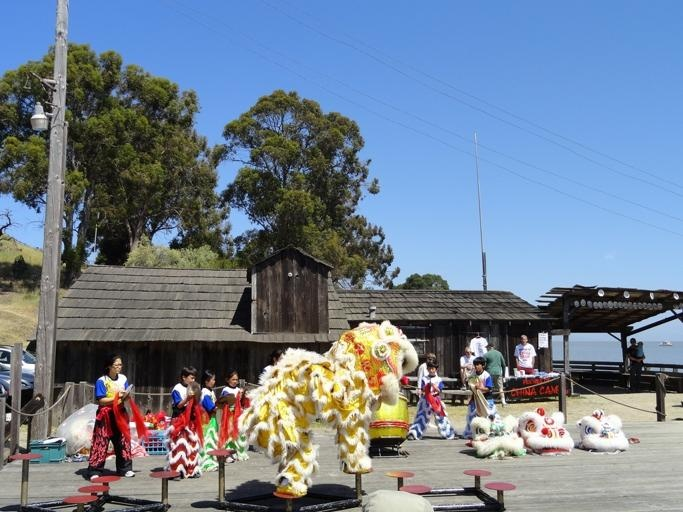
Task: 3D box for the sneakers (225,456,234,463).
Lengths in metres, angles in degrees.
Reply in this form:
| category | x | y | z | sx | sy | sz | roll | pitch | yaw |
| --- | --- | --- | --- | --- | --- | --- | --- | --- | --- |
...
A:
| category | x | y | z | sx | sy | sz | roll | pitch | yaw |
| --- | --- | --- | --- | --- | --- | --- | --- | --- | --- |
| sneakers | -2.199 | 4.011 | 14.410 | 0.156 | 0.157 | 0.105 | -7 | -12 | 2 |

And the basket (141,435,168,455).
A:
| category | x | y | z | sx | sy | sz | roll | pitch | yaw |
| --- | --- | --- | --- | --- | --- | --- | --- | --- | --- |
| basket | -3.794 | 3.808 | 14.876 | 0.476 | 0.480 | 0.207 | 2 | -11 | -10 |

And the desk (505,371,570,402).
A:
| category | x | y | z | sx | sy | sz | roll | pitch | yaw |
| --- | --- | --- | --- | --- | --- | --- | --- | --- | --- |
| desk | 5.897 | 4.044 | 22.585 | 2.049 | 0.875 | 1.435 | 6 | -13 | -25 |

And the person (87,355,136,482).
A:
| category | x | y | z | sx | sy | sz | roll | pitch | yaw |
| --- | --- | --- | --- | --- | --- | --- | --- | --- | --- |
| person | -4.160 | 2.953 | 13.412 | 0.780 | 2.174 | 0.731 | 4 | -12 | -19 |

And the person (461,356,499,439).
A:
| category | x | y | z | sx | sy | sz | roll | pitch | yaw |
| --- | --- | --- | --- | --- | --- | --- | --- | --- | --- |
| person | 3.093 | 3.177 | 16.514 | 0.722 | 1.839 | 1.467 | -1 | -12 | 9 |

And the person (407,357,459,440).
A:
| category | x | y | z | sx | sy | sz | roll | pitch | yaw |
| --- | --- | --- | --- | --- | --- | --- | --- | --- | --- |
| person | 2.010 | 3.295 | 16.635 | 0.867 | 1.714 | 0.850 | 10 | -15 | -41 |

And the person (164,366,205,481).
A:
| category | x | y | z | sx | sy | sz | roll | pitch | yaw |
| --- | --- | --- | --- | --- | --- | --- | --- | --- | --- |
| person | -2.842 | 3.051 | 13.448 | 0.636 | 1.963 | 0.421 | 3 | -11 | -13 |

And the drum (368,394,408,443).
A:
| category | x | y | z | sx | sy | sz | roll | pitch | yaw |
| --- | --- | --- | --- | --- | --- | --- | --- | --- | --- |
| drum | 0.942 | 3.353 | 15.162 | 0.908 | 0.969 | 0.981 | -4 | -13 | 7 |

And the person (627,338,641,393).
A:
| category | x | y | z | sx | sy | sz | roll | pitch | yaw |
| --- | --- | --- | --- | --- | --- | --- | --- | --- | --- |
| person | 10.596 | 3.951 | 26.497 | 0.525 | 1.836 | 1.147 | -4 | -12 | 22 |

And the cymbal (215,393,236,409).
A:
| category | x | y | z | sx | sy | sz | roll | pitch | yaw |
| --- | --- | --- | --- | --- | --- | --- | --- | --- | --- |
| cymbal | -2.152 | 2.706 | 13.694 | 0.321 | 0.217 | 0.338 | 2 | -12 | -9 |

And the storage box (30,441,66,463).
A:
| category | x | y | z | sx | sy | sz | roll | pitch | yaw |
| --- | --- | --- | --- | --- | --- | --- | --- | --- | --- |
| storage box | -5.613 | 3.752 | 13.982 | 0.665 | 0.465 | 0.705 | 0 | -9 | -5 |
